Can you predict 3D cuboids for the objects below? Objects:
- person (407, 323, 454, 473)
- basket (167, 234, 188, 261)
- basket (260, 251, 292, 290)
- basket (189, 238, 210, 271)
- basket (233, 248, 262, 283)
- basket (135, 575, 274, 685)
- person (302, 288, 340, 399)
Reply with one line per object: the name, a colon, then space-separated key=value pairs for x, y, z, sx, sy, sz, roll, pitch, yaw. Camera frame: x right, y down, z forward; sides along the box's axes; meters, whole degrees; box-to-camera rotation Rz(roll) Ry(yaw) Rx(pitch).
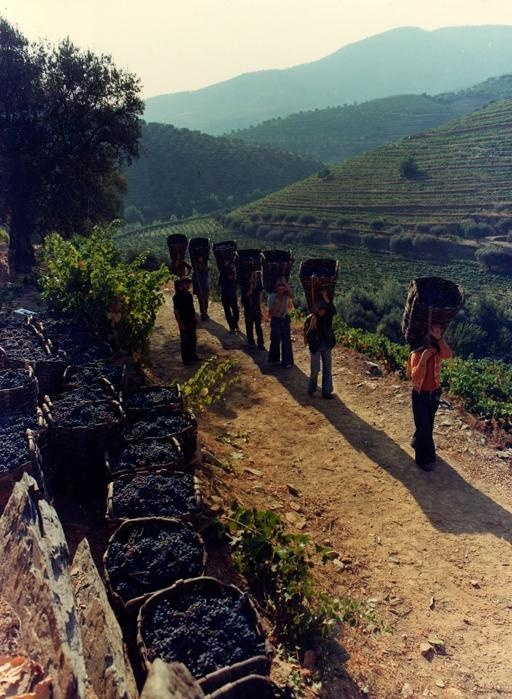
person: x=2.078 y=0.579 z=6.966 sx=0.479 sy=1.797 sz=0.466 roll=-7 pitch=14 yaw=-3
basket: x=-1.700 y=-2.200 z=12.817 sx=0.561 sy=0.648 sz=0.598 roll=0 pitch=8 yaw=-6
basket: x=0.341 y=-1.349 z=10.130 sx=0.596 sy=0.672 sz=0.602 roll=8 pitch=37 yaw=9
basket: x=-1.196 y=-1.986 z=12.418 sx=0.455 sy=0.658 sz=0.444 roll=-22 pitch=47 yaw=-24
basket: x=-0.151 y=-1.503 z=10.795 sx=0.465 sy=0.479 sz=0.622 roll=-14 pitch=-27 yaw=-13
basket: x=-0.341 y=1.708 z=3.612 sx=0.760 sy=0.353 sz=0.597 roll=-9 pitch=14 yaw=-16
person: x=0.986 y=-0.015 z=8.755 sx=0.477 sy=1.567 sz=0.782 roll=-4 pitch=14 yaw=7
